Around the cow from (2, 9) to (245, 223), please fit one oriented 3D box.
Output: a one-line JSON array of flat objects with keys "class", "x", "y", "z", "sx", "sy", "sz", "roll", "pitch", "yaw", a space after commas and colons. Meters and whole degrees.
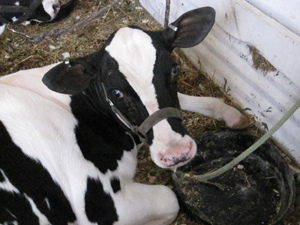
[{"class": "cow", "x": -0.440, "y": 0.090, "z": 3.962, "sx": 2.638, "sy": 1.600, "sz": 1.467, "roll": -15, "pitch": 43, "yaw": -16}]
